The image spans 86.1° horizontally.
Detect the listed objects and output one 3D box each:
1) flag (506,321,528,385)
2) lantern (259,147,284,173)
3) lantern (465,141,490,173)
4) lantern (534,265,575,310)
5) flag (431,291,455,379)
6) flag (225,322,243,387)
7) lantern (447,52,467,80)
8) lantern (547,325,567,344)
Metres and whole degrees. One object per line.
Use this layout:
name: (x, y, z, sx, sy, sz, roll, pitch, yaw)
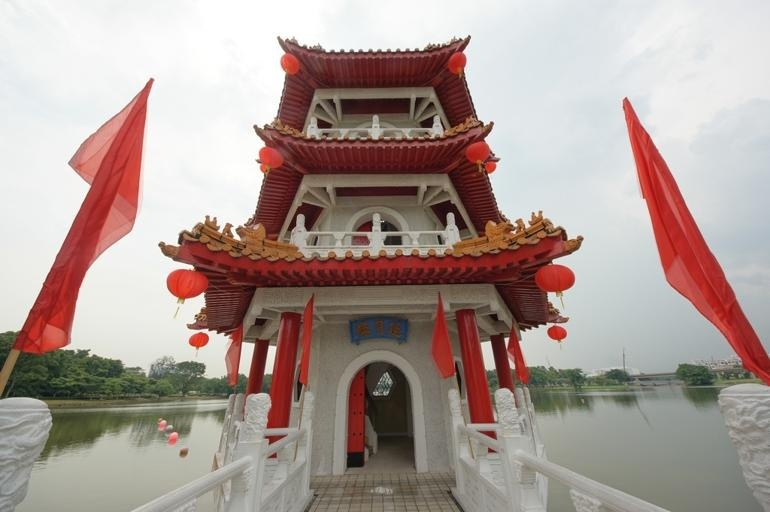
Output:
flag: (4.625, 3.495, 14.388, 0.677, 0.468, 2.843, 12, -49, 37)
lantern: (-3.866, -3.423, 13.960, 0.696, 0.995, 0.766, 6, -25, -23)
lantern: (3.217, -3.462, 14.333, 0.720, 0.877, 1.398, -9, -24, 12)
lantern: (5.163, 0.793, 12.369, 1.053, 1.379, 1.056, -17, 8, -34)
flag: (1.819, 2.457, 12.830, 0.722, 2.491, 0.219, 1, -11, -11)
flag: (-5.579, 3.675, 15.162, 0.139, 2.026, 0.733, -12, -23, 29)
lantern: (2.734, -6.962, 15.105, 0.554, 0.580, 0.682, -21, -28, 35)
lantern: (6.082, 2.762, 14.530, 0.492, 0.662, 1.598, -11, -24, 16)
